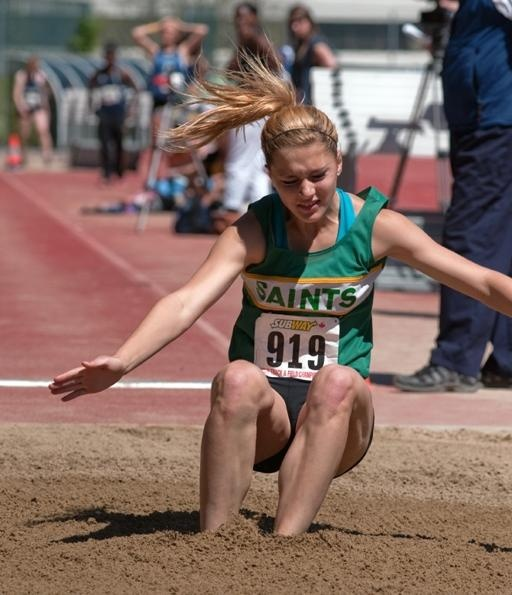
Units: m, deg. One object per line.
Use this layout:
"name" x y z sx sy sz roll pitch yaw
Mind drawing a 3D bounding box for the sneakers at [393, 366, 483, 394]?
"sneakers" 0.800 0.367 4.343 0.403 0.133 0.125 3 -4 -5

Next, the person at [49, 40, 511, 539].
"person" 0.109 -0.002 2.374 0.889 1.195 0.821 6 14 26
